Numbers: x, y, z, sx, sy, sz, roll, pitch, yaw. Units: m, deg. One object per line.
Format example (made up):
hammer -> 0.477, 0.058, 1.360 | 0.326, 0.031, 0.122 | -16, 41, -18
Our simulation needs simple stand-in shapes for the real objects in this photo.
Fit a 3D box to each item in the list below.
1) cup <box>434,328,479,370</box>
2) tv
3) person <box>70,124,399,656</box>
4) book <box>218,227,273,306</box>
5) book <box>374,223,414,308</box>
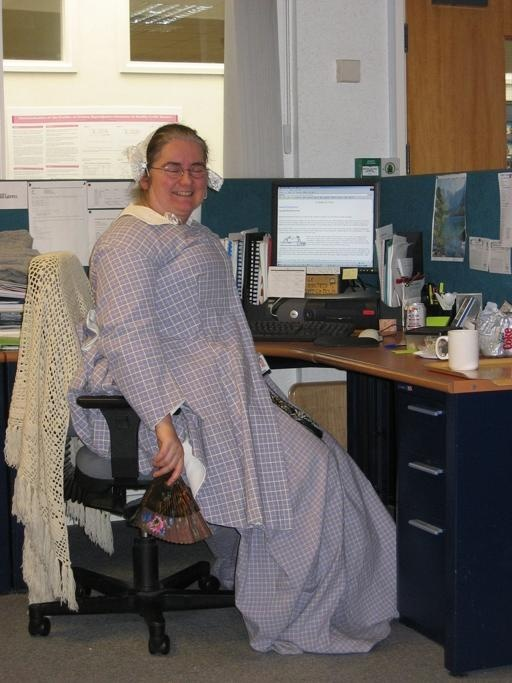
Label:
cup -> 0.435, 0.025, 1.563 | 0.067, 0.095, 0.101 | 2, 2, 0
tv -> 0.252, -0.388, 2.556 | 0.397, 0.378, 0.139 | 0, -9, 8
person -> -0.043, 0.096, 1.671 | 0.788, 1.208, 0.678 | -1, 2, 4
book -> -0.022, -0.266, 2.535 | 0.228, 0.321, 0.288 | -2, 14, 3
book -> 0.471, -0.252, 2.360 | 0.134, 0.358, 0.283 | 1, 9, 18
